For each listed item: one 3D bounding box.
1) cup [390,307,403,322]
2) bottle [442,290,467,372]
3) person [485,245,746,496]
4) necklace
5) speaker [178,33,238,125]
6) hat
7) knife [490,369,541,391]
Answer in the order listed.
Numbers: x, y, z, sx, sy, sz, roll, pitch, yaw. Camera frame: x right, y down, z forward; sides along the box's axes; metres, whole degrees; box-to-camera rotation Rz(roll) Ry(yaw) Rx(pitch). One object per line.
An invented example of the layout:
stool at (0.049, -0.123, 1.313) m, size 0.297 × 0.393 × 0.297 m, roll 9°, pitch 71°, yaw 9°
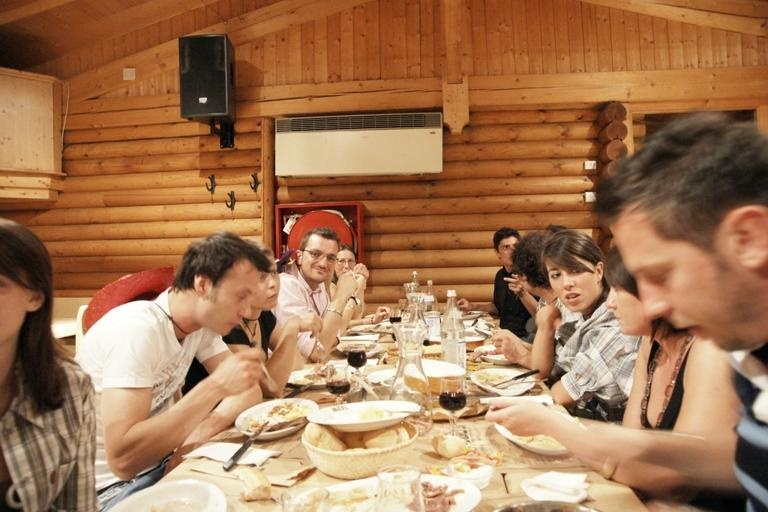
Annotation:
cup at (0.097, 0.447, 4.426) m, size 0.108 × 0.092 × 0.099 m, roll 0°, pitch 3°, yaw 0°
bottle at (0.396, 0.422, 3.231) m, size 0.186 × 0.532 × 0.169 m, roll -1°, pitch -37°, yaw 7°
person at (0.656, 0.526, 2.459) m, size 1.087 × 0.933 × 0.651 m, roll 5°, pitch -12°, yaw -3°
necklace at (1.122, 0.521, 2.378) m, size 0.227 × 0.331 × 0.090 m, roll -4°, pitch -4°, yaw -42°
speaker at (-1.991, -2.009, 6.475) m, size 0.542 × 0.899 × 0.138 m, roll -1°, pitch 6°, yaw 2°
hat at (-1.523, 0.212, 3.590) m, size 0.514 × 0.489 × 0.137 m, roll -25°, pitch 55°, yaw -39°
knife at (0.652, 0.595, 2.861) m, size 0.280 × 0.026 × 0.087 m, roll -5°, pitch 7°, yaw -42°
